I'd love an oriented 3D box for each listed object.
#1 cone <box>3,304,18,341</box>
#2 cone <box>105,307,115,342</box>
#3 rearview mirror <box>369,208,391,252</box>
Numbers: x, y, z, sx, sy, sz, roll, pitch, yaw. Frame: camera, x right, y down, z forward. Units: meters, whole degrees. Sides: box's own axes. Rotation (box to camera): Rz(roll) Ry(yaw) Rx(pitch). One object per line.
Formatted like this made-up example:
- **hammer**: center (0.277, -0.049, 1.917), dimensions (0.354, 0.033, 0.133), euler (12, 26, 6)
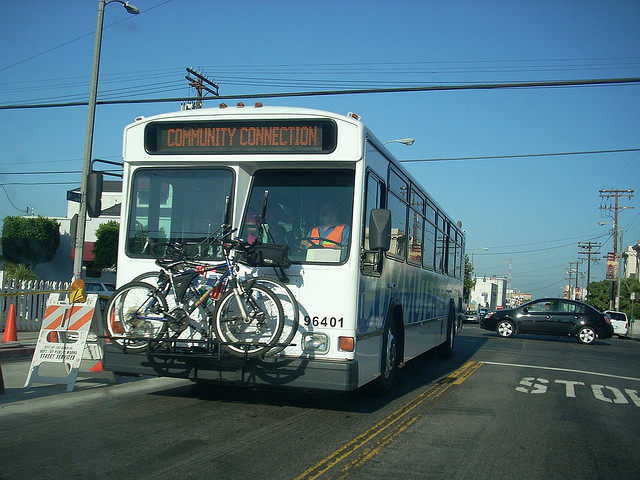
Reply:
- **cone**: center (-7.527, 1.993, 14.528), dimensions (0.284, 0.836, 0.440), euler (5, -4, -28)
- **cone**: center (-2.987, 1.193, 8.522), dimensions (0.086, 0.491, 0.179), euler (6, -5, -41)
- **rearview mirror**: center (0.815, -0.150, 8.136), dimensions (0.287, 0.550, 0.205), euler (3, -4, 1)
